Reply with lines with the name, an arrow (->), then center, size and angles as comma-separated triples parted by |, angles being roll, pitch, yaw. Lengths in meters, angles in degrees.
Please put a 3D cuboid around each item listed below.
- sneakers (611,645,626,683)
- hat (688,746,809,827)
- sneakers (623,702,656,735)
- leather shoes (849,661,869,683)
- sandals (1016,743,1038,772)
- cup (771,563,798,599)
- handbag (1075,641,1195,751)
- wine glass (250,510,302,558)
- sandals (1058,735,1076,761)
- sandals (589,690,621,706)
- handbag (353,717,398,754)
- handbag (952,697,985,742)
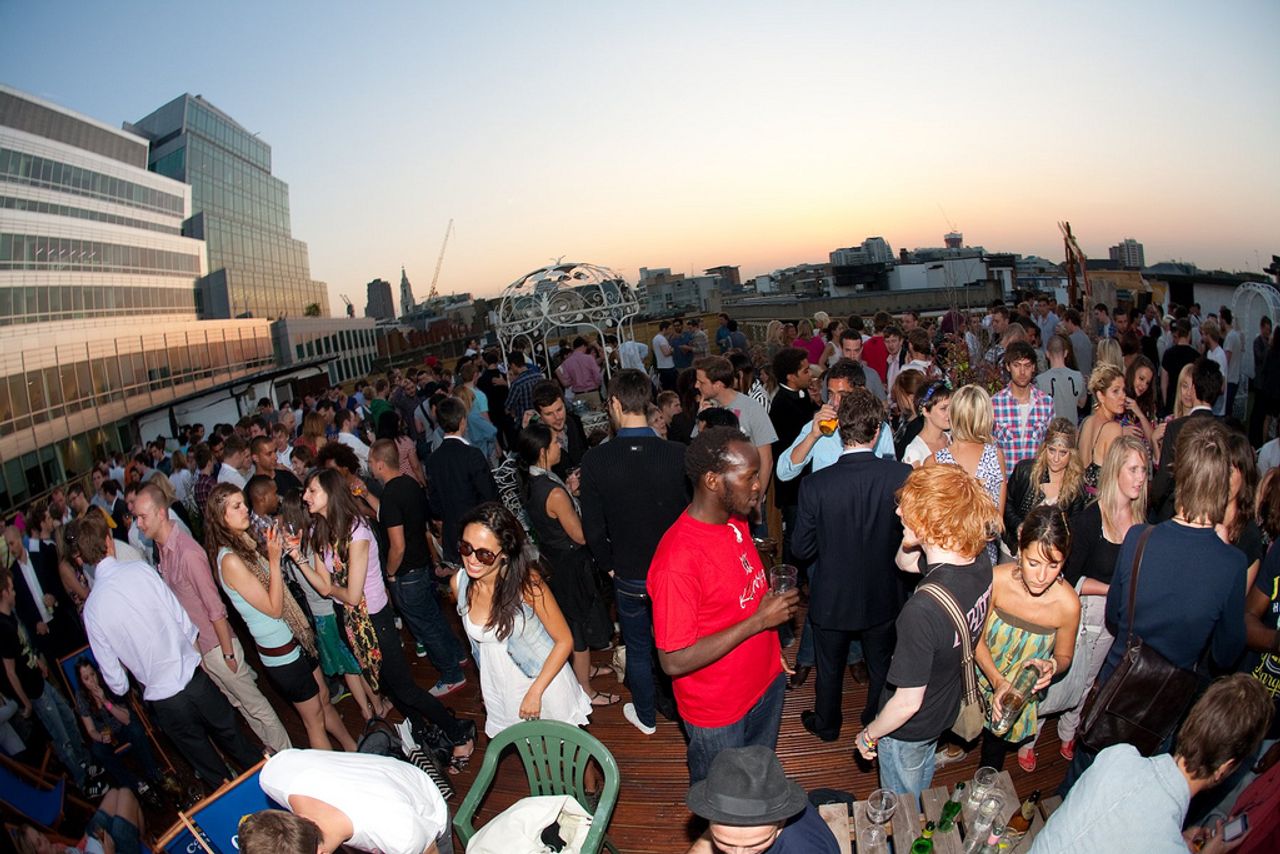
sneakers -> -0.263, 2.291, 6.364 | 0.147, 0.449, 0.168 | -4, 6, -7
hat -> 0.472, 1.667, 2.964 | 0.552, 0.431, 0.236 | -5, 9, 5
sneakers -> -0.078, 2.508, 5.679 | 0.155, 0.153, 0.351 | -7, 25, -40
leather shoes -> 1.995, 2.205, 5.909 | 0.089, 0.162, 0.100 | -12, -17, 7
sandals -> 2.937, 2.446, 4.860 | 0.125, 0.146, 0.355 | -23, -31, 11
cup -> 0.820, 0.881, 3.722 | 0.135, 0.165, 0.139 | -8, 31, 5
handbag -> 3.159, 1.724, 4.071 | 0.763, 0.750, 0.221 | -7, 10, -8
wine glass -> -3.105, 0.884, 5.345 | 0.271, 0.384, 0.134 | 4, 46, -11
sandals -> 3.301, 2.435, 4.973 | 0.120, 0.112, 0.272 | -14, -15, 24
sandals -> -0.389, 2.484, 6.006 | 0.304, 0.074, 0.128 | 10, 1, -17
handbag -> -1.784, 2.019, 4.266 | 0.169, 0.293, 0.095 | -6, -1, 12
handbag -> 2.157, 1.888, 4.236 | 0.243, 0.313, 0.104 | -7, 10, -12
